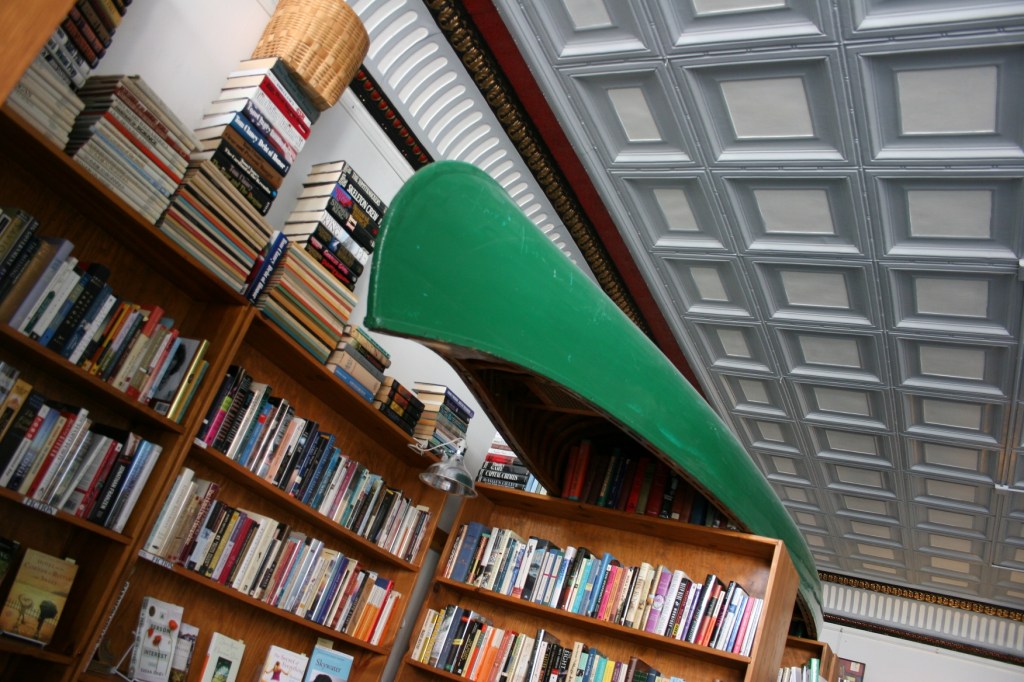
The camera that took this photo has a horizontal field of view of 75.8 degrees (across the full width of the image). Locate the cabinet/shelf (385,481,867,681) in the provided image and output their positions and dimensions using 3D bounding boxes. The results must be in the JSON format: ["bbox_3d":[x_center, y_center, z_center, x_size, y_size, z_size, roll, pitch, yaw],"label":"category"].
[{"bbox_3d":[1.121,1.445,4.492,2.762,0.925,1.645,3,-1,31],"label":"cabinet/shelf"}]
